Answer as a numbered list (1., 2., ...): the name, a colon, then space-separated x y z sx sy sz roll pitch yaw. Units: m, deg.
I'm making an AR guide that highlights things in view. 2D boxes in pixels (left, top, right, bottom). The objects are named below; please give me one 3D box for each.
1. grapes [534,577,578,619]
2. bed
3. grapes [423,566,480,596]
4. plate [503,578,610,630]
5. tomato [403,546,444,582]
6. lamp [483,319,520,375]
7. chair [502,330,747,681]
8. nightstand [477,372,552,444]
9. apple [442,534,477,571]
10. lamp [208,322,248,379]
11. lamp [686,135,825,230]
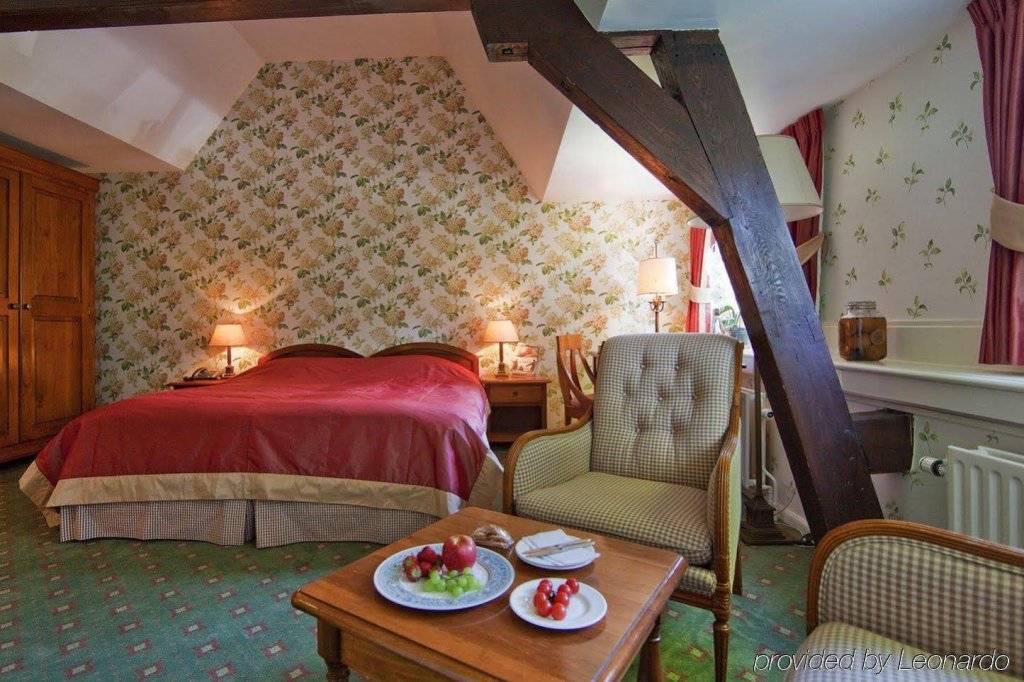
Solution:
1. grapes: 0.171 1.013 2.689 0.147 0.048 0.142 -2 3 25
2. bed: -1.444 0.736 4.844 2.817 1.071 1.655 -2 -2 3
3. grapes: -0.250 0.979 2.777 0.159 0.052 0.114 -1 -2 -1
4. plate: 0.185 1.053 2.712 0.396 0.106 0.180 -2 -2 6
5. tomato: -0.374 0.927 2.820 0.122 0.073 0.157 -9 -13 15
6. lamp: -0.102 0.048 6.060 0.494 0.601 0.468 -1 4 1
7. chair: 0.374 0.713 4.174 1.596 1.894 1.609 1 -3 28
8. nightstand: 0.076 0.541 6.216 0.871 0.757 0.596 0 -2 -4
9. apple: -0.218 0.880 2.895 0.146 0.156 0.138 0 9 14
10. lamp: -2.533 0.070 6.063 0.487 0.574 0.466 -1 5 -19
11. lamp: 1.320 -0.865 3.708 0.543 0.542 0.516 -22 -2 17
